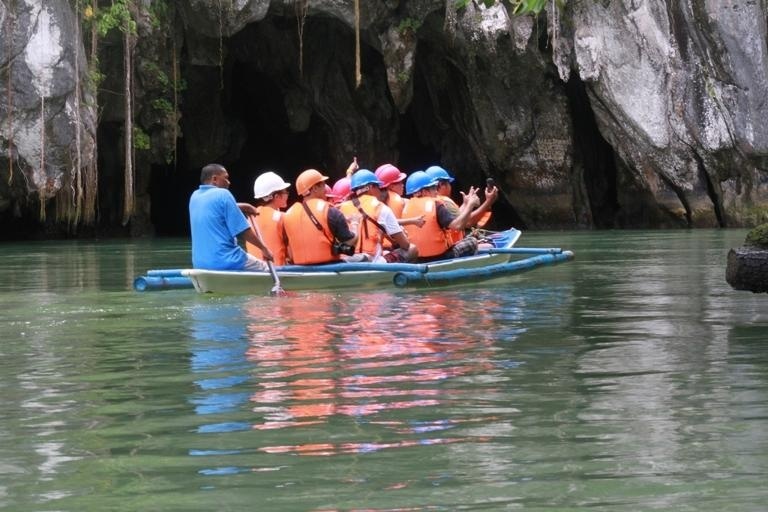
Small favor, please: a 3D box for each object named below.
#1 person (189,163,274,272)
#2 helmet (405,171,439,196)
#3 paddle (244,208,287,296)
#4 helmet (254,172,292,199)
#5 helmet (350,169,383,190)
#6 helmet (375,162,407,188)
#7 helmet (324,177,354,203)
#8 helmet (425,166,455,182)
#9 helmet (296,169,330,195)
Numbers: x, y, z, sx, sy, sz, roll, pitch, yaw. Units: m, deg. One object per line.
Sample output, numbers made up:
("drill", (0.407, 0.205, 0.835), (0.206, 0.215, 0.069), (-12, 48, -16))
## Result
("person", (-1.760, -0.413, 13.778), (0.838, 1.230, 0.857), (-4, 15, -9))
("helmet", (0.439, -0.954, 15.781), (0.391, 0.172, 0.279), (-15, 5, 13))
("paddle", (-1.314, 0.133, 13.851), (0.162, 0.199, 1.387), (17, 29, -38))
("helmet", (-1.312, -0.852, 14.244), (0.439, 0.197, 0.329), (-23, 18, -18))
("helmet", (-0.238, -0.944, 15.051), (0.331, 0.149, 0.241), (-5, 4, -20))
("helmet", (0.135, -1.060, 15.879), (0.413, 0.155, 0.283), (-20, 17, -14))
("helmet", (-0.590, -0.858, 16.183), (0.439, 0.207, 0.273), (-29, 17, -23))
("helmet", (0.767, -1.089, 16.165), (0.416, 0.182, 0.283), (-1, 2, -33))
("helmet", (-0.860, -0.891, 14.283), (0.381, 0.172, 0.268), (-24, 12, -18))
